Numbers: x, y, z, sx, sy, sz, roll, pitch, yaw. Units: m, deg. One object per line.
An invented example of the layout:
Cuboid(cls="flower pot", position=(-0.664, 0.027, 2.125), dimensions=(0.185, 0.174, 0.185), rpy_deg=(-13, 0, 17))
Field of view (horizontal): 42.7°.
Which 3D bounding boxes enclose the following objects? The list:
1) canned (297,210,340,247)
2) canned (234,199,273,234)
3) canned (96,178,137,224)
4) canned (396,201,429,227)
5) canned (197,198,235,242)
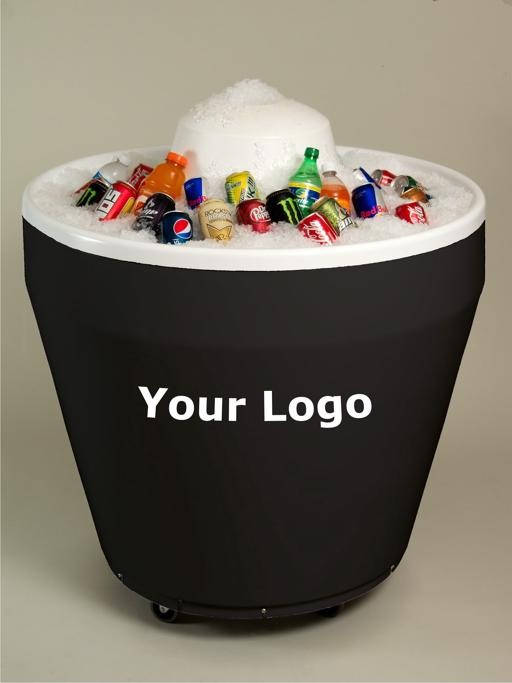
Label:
Cuboid(cls="canned", position=(0.110, -0.194, 1.136), dimensions=(0.052, 0.047, 0.077), rpy_deg=(-18, 59, -27))
Cuboid(cls="canned", position=(-0.004, -0.228, 1.206), dimensions=(0.050, 0.050, 0.079), rpy_deg=(-7, 67, -38))
Cuboid(cls="canned", position=(-0.286, -0.281, 1.306), dimensions=(0.057, 0.074, 0.109), rpy_deg=(3, 13, 13))
Cuboid(cls="canned", position=(0.308, -0.254, 1.295), dimensions=(0.065, 0.042, 0.111), rpy_deg=(3, 13, 12))
Cuboid(cls="canned", position=(-0.074, -0.225, 1.207), dimensions=(0.065, 0.070, 0.168), rpy_deg=(-1, 13, -2))
